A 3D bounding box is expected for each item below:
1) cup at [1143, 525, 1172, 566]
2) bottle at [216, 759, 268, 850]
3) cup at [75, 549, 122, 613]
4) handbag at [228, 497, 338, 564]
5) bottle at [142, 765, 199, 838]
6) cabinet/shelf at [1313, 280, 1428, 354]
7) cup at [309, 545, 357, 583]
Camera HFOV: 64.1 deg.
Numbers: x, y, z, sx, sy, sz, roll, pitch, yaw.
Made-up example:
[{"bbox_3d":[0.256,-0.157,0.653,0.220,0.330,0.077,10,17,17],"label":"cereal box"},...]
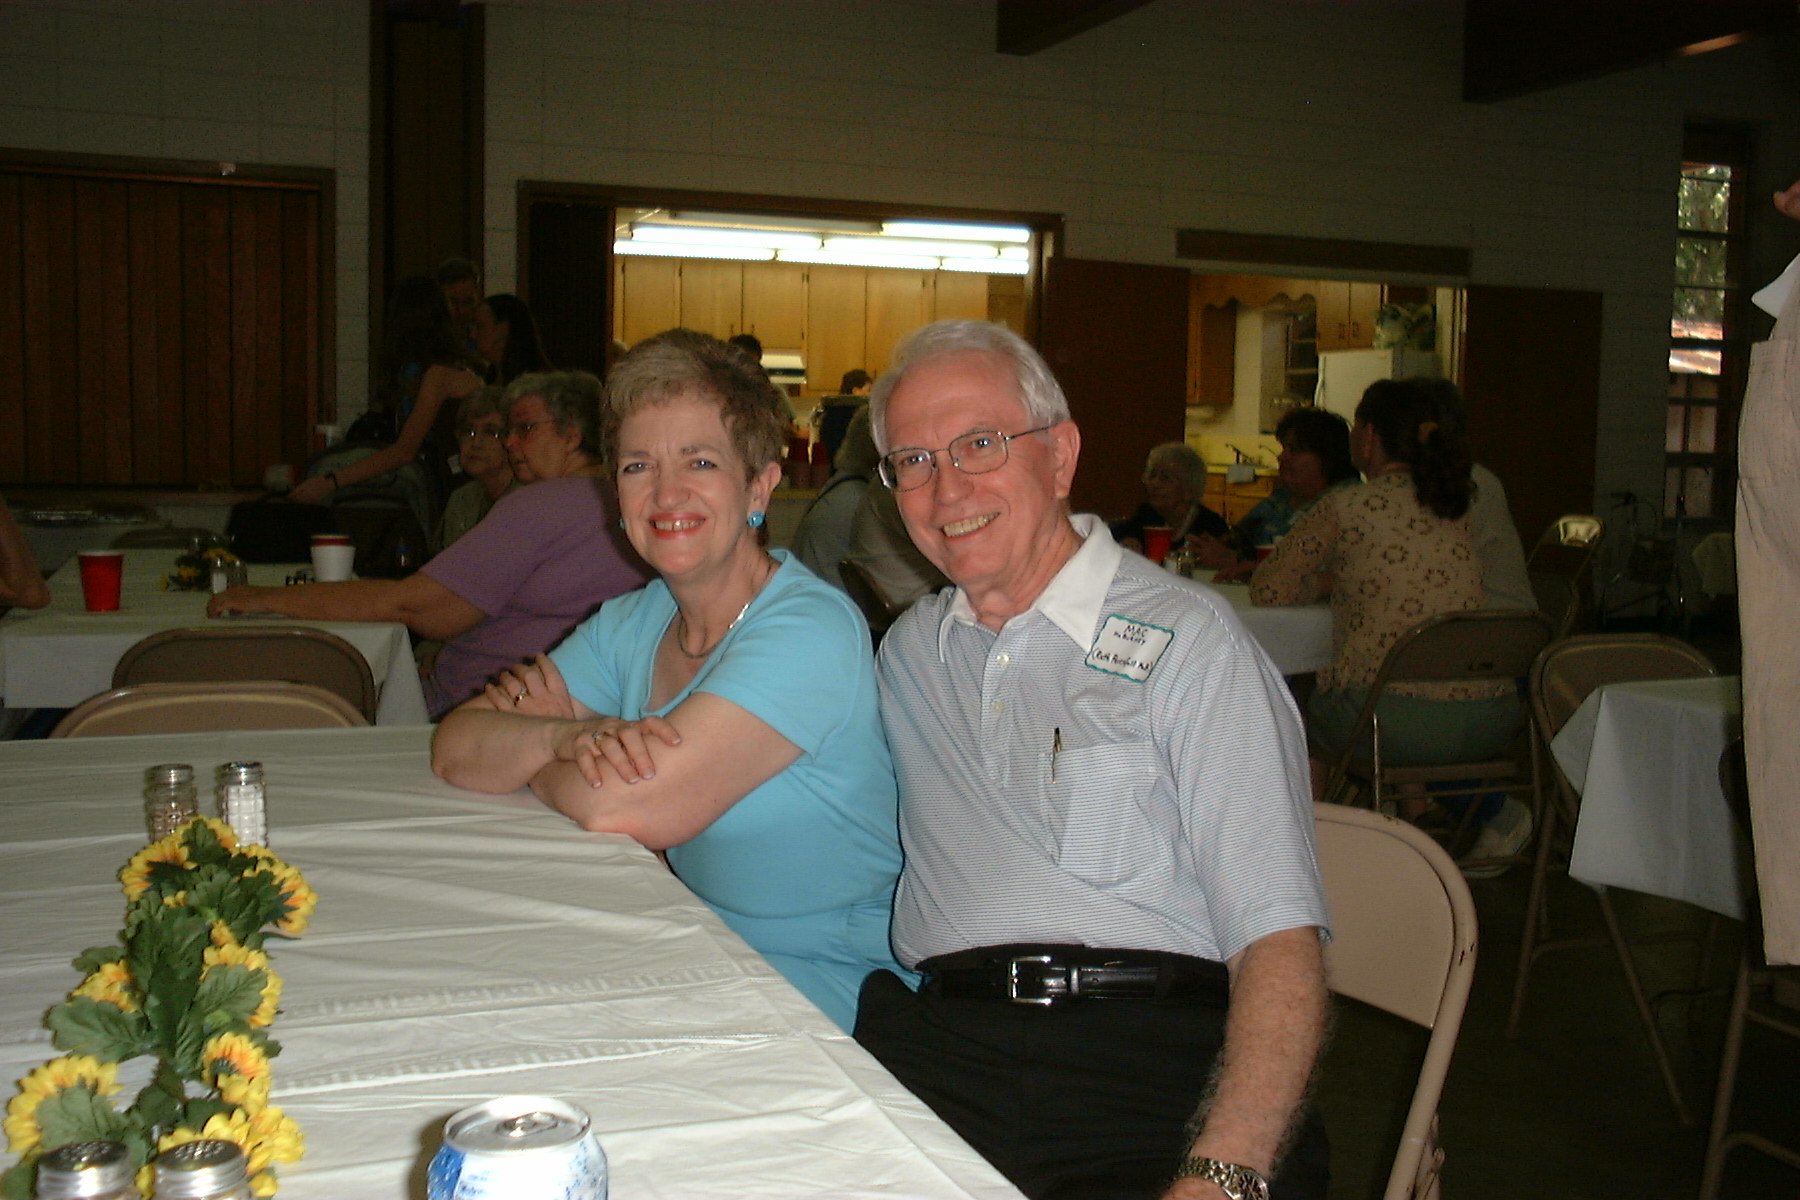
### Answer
[{"bbox_3d":[0.911,-0.194,5.042,0.130,0.146,0.134,1,-6,0],"label":"cup"},{"bbox_3d":[-0.944,0.302,2.062,0.070,0.122,0.076,-2,0,0],"label":"bottle"},{"bbox_3d":[-2.131,-0.047,3.932,0.150,0.169,0.144,1,5,0],"label":"cup"},{"bbox_3d":[-2.295,-0.264,5.335,0.348,0.147,0.354,1,7,2],"label":"handbag"},{"bbox_3d":[-1.036,0.295,2.056,0.071,0.103,0.069,-3,-4,0],"label":"bottle"},{"bbox_3d":[3.357,-2.010,10.174,0.281,0.687,0.731,1,0,-10],"label":"cabinet/shelf"},{"bbox_3d":[-1.645,-0.107,4.244,0.116,0.135,0.120,-1,-1,0],"label":"cup"}]
